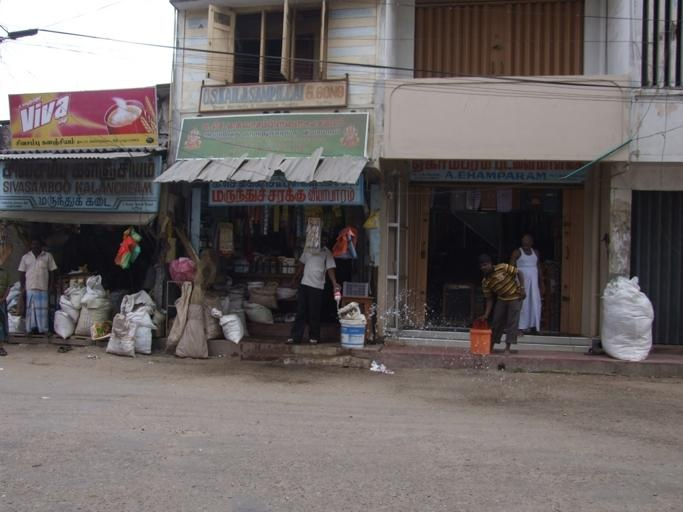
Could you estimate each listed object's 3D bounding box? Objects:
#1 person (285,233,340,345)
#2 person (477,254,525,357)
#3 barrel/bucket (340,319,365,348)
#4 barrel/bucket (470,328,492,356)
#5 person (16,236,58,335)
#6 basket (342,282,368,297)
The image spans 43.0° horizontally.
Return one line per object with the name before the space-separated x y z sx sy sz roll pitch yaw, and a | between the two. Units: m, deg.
person | -0.522 0.701 16.087 0.920 1.867 0.786 0 14 -2
person | 2.802 0.869 15.303 0.793 1.788 0.515 3 15 11
barrel/bucket | 0.194 1.407 15.766 0.440 0.499 0.446 1 15 0
barrel/bucket | 2.428 1.522 15.152 0.402 0.465 0.421 0 -3 0
person | -5.959 0.618 16.858 0.614 1.763 0.543 5 15 16
basket | 0.256 0.622 16.468 0.512 0.250 0.418 1 15 1
